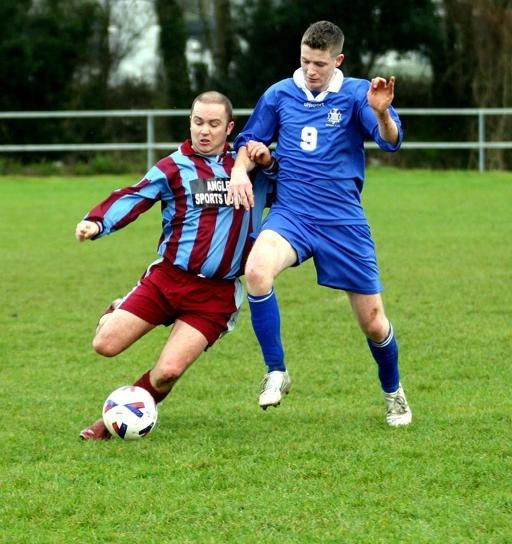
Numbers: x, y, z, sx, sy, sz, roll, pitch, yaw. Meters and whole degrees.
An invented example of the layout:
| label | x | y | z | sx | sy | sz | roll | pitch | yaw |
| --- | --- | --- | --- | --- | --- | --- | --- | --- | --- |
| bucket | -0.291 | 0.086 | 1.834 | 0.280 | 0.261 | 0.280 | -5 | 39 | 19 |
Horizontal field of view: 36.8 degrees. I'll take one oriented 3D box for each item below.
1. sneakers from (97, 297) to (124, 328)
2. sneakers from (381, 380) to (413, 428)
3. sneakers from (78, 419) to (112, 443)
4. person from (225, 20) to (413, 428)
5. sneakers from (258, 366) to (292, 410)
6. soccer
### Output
| label | x | y | z | sx | sy | sz | roll | pitch | yaw |
| --- | --- | --- | --- | --- | --- | --- | --- | --- | --- |
| sneakers | -0.634 | 0.170 | 3.392 | 0.051 | 0.135 | 0.106 | 43 | -17 | -17 |
| sneakers | 0.623 | 0.589 | 3.405 | 0.077 | 0.196 | 0.080 | -17 | -38 | 21 |
| sneakers | -0.682 | 0.687 | 3.270 | 0.054 | 0.058 | 0.149 | -6 | -9 | 34 |
| person | 0.296 | -0.190 | 3.310 | 0.721 | 1.716 | 0.686 | -2 | 12 | -5 |
| sneakers | 0.081 | 0.490 | 3.189 | 0.086 | 0.103 | 0.222 | 4 | 17 | 14 |
| soccer | -0.492 | 0.591 | 3.277 | 0.243 | 0.214 | 0.210 | 14 | -29 | 7 |
